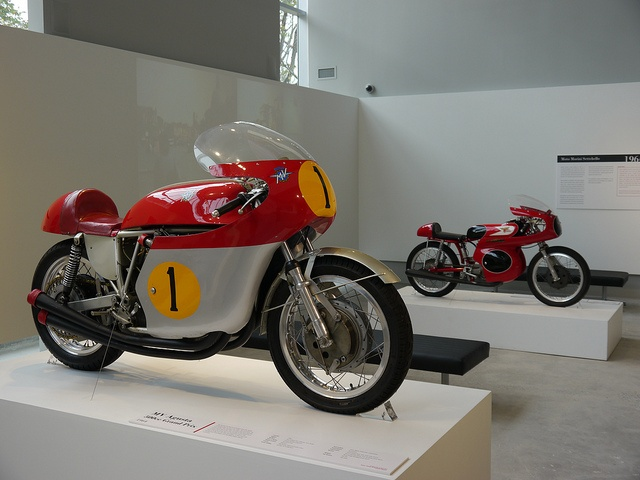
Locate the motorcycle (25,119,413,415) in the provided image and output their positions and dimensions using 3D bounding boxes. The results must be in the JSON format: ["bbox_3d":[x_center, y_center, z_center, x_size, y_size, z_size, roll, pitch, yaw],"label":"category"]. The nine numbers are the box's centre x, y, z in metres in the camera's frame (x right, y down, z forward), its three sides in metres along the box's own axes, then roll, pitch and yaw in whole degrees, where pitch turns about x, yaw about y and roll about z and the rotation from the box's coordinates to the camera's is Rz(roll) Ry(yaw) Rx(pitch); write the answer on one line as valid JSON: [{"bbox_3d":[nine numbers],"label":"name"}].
[{"bbox_3d":[-0.663,0.125,2.451,2.222,1.347,0.600,3,3,22],"label":"motorcycle"}]

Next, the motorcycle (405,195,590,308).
[{"bbox_3d":[2.103,0.080,5.836,1.930,1.222,1.512,1,2,14],"label":"motorcycle"}]
